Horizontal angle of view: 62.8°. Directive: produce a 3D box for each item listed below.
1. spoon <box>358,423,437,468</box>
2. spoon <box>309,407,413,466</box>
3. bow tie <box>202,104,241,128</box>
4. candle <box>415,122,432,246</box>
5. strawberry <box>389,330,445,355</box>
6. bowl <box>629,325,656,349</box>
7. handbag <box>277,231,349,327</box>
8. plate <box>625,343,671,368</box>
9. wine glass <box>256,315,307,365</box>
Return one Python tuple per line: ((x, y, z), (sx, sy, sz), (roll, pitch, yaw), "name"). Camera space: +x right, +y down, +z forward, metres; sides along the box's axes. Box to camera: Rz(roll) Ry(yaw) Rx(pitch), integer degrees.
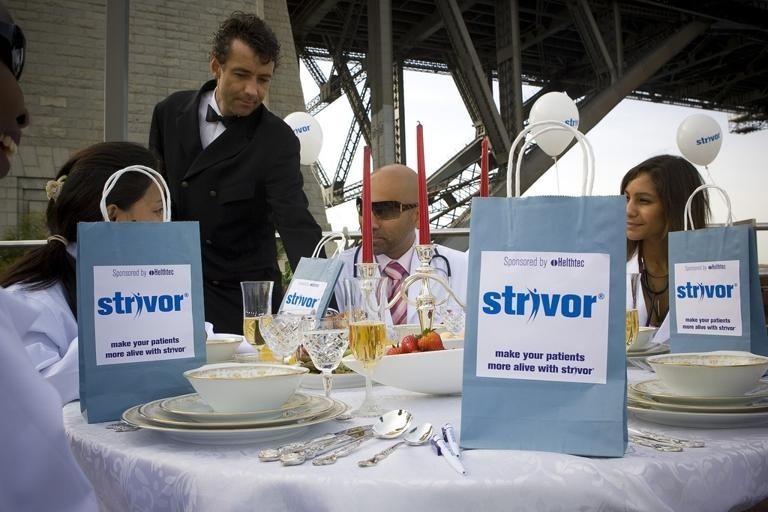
((0.035, 0.332, 1.112), (0.044, 0.031, 0.209), (8, 15, 29), "spoon")
((-0.041, 0.310, 1.101), (0.059, 0.045, 0.261), (7, 12, 27), "spoon")
((-0.715, -0.602, 2.791), (0.130, 0.106, 0.114), (10, -1, 24), "bow tie")
((0.094, -0.176, 1.547), (0.030, 0.298, 0.052), (0, 0, 6), "candle")
((0.064, 0.195, 1.414), (0.093, 0.050, 0.060), (-6, -1, 20), "strawberry")
((0.737, 0.240, 1.804), (0.077, 0.037, 0.079), (-16, 2, 1), "bowl")
((-0.207, 0.089, 1.776), (0.155, 0.167, 0.200), (0, 0, -20), "handbag")
((0.703, 0.266, 1.694), (0.135, 0.033, 0.132), (-4, 3, -38), "plate")
((-0.243, 0.197, 1.505), (0.106, 0.133, 0.106), (-1, -4, 8), "wine glass")
